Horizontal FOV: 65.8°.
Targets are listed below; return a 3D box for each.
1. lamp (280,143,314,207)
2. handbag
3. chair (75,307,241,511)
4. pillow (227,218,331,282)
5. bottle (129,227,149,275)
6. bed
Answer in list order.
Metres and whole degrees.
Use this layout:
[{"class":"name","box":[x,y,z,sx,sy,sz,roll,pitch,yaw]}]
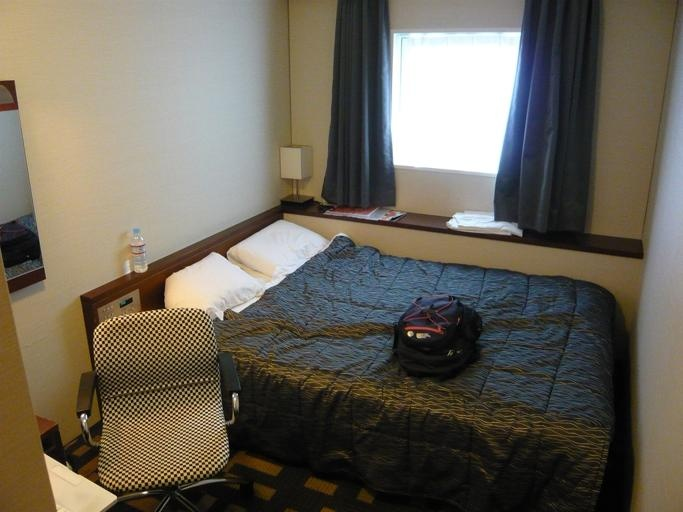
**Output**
[{"class":"lamp","box":[-0.421,-0.734,4.802,0.270,0.520,0.300,5,21,17]},{"class":"handbag","box":[0.561,0.448,3.101,0.491,0.245,0.651,8,22,24]},{"class":"chair","box":[-0.904,0.798,2.643,0.749,0.878,0.725,-6,28,-15]},{"class":"pillow","box":[-0.506,-0.059,4.189,0.462,0.149,0.625,28,34,20]},{"class":"bottle","box":[-1.330,-0.036,3.425,0.092,0.286,0.085,-1,20,0]},{"class":"bed","box":[0.186,0.851,3.742,2.669,0.838,1.983,10,28,21]}]
